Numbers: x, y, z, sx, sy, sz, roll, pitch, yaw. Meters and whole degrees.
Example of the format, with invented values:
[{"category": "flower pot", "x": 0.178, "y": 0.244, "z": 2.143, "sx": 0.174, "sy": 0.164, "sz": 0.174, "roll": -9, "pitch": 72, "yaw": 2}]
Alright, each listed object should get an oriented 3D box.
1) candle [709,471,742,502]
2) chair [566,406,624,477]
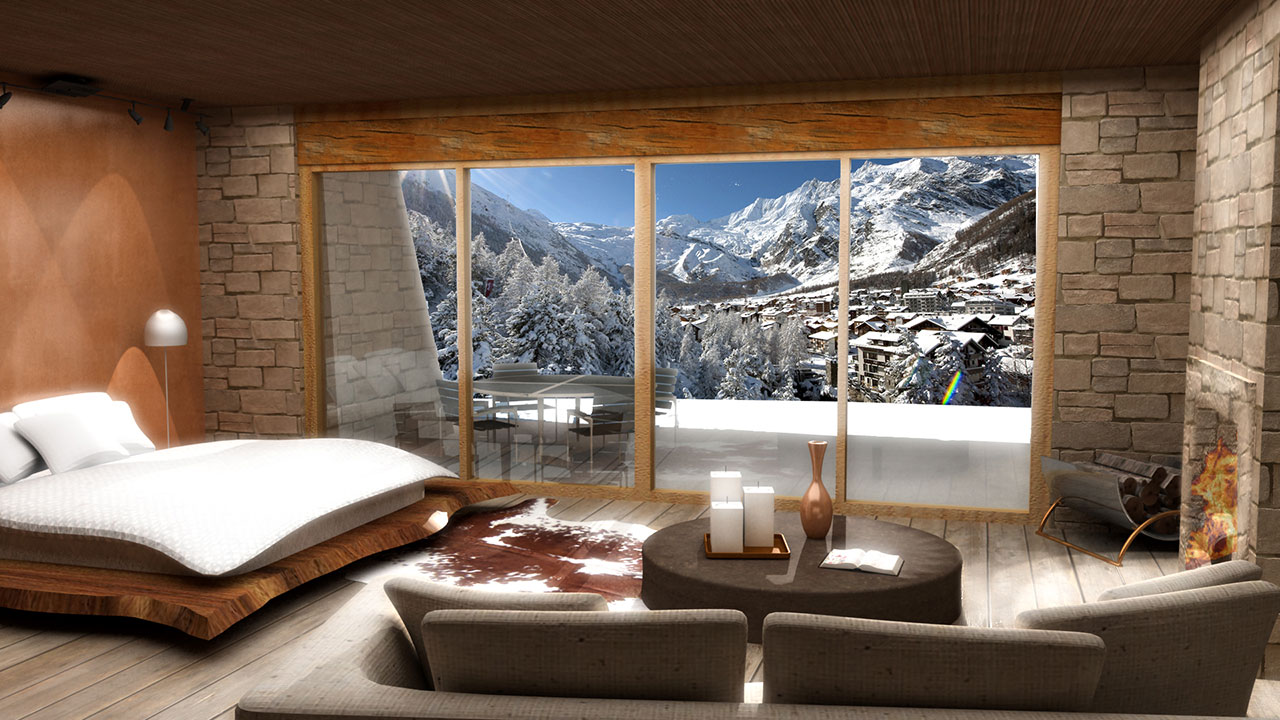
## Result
[{"category": "candle", "x": 0.553, "y": 0.829, "z": 5.078, "sx": 0.248, "sy": 0.176, "sz": 0.218, "roll": 0, "pitch": 1, "yaw": 5}, {"category": "chair", "x": -0.368, "y": 0.781, "z": 7.488, "sx": 0.919, "sy": 0.704, "sz": 0.608, "roll": 0, "pitch": 0, "yaw": 1}]
